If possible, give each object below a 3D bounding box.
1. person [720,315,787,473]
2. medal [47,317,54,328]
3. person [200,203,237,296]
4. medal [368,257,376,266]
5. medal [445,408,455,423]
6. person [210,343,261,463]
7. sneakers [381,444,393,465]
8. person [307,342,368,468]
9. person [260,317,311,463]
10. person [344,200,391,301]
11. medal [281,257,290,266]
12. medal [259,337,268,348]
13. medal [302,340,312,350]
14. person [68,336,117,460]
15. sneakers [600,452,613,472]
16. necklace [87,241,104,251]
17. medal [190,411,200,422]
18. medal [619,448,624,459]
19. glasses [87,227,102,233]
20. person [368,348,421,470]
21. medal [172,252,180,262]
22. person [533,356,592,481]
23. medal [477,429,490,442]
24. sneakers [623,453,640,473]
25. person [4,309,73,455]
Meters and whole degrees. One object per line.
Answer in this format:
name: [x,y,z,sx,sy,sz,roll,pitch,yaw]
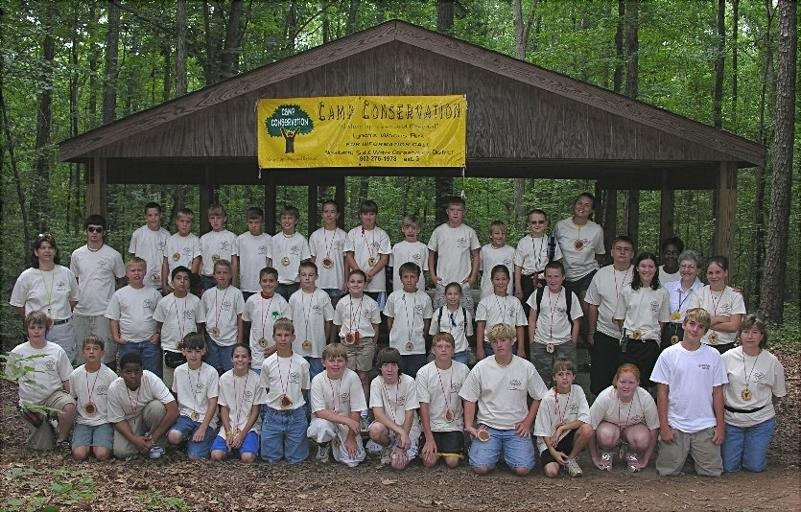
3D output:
person: [7.182,2.844,21.023,1.189,3.213,0.471,-1,0,10]
medal: [-7.446,1.446,21.759,0.188,0.240,0.140,-1,-16,-6]
person: [-4.144,0.262,23.098,0.977,2.795,0.688,0,0,1]
medal: [-0.646,0.128,22.729,0.155,0.206,0.070,-1,0,20]
medal: [0.999,3.360,21.259,0.216,0.293,0.070,-1,-3,-5]
person: [-3.380,3.082,21.285,1.047,2.492,0.456,-1,0,-10]
sneakers: [-0.299,4.169,21.132,0.232,0.375,0.279,-1,0,-3]
person: [-1.320,3.121,21.246,1.193,2.576,0.453,-1,0,-5]
person: [-2.411,2.830,21.328,1.033,3.081,0.366,-1,0,-9]
person: [-0.751,0.315,23.005,1.182,3.080,1.003,3,19,7]
medal: [-2.564,0.132,22.707,0.152,0.189,0.044,0,-5,-4]
medal: [-2.972,1.888,21.983,0.202,0.201,0.046,11,-9,-28]
medal: [-2.016,1.939,21.981,0.191,0.190,0.079,-3,-1,9]
person: [-6.364,2.952,21.182,0.931,2.590,0.568,-1,0,-15]
sneakers: [4.178,4.250,21.003,0.289,0.383,0.129,-1,0,10]
necklace: [-6.724,-0.257,22.515,0.213,0.224,0.268,1,-26,-7]
medal: [-4.304,3.398,21.412,0.183,0.182,0.050,-45,12,-11]
medal: [4.595,4.161,21.286,0.040,0.155,0.156,6,0,-7]
glasses: [-6.703,-0.577,22.399,0.150,0.049,0.149,2,-24,-9]
person: [-0.130,3.194,21.168,1.065,2.535,0.544,-1,0,0]
medal: [-5.013,0.014,22.889,0.137,0.191,0.029,-1,0,-20]
person: [3.313,3.355,21.013,1.160,2.418,0.545,-1,0,6]
medal: [1.692,3.733,21.000,0.233,0.233,0.172,7,-40,-11]
sneakers: [4.763,4.291,20.974,0.283,0.393,0.189,-1,0,12]
person: [-7.372,2.612,21.183,1.187,2.949,0.669,-1,0,-14]
